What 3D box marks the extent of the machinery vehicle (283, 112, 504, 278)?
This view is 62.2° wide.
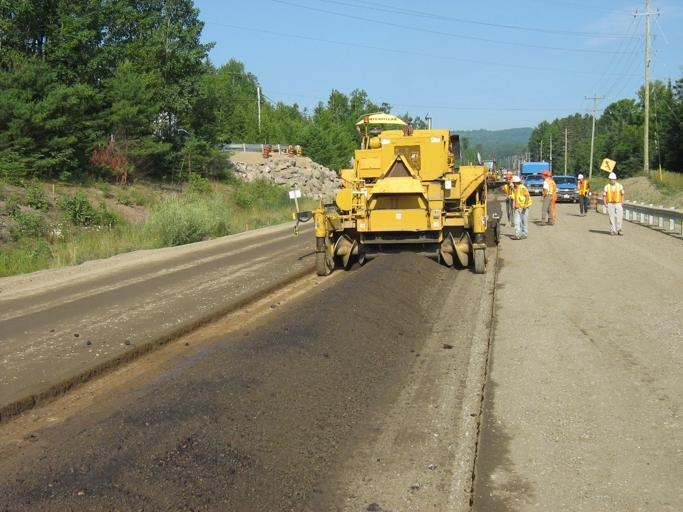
[{"bbox_3d":[1.915,-2.000,16.370,3.124,3.251,5.692,1,10,9],"label":"machinery vehicle"}]

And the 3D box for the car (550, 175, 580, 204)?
[{"bbox_3d":[15.302,-4.606,38.781,1.344,1.488,2.721,0,-2,10],"label":"car"}]
